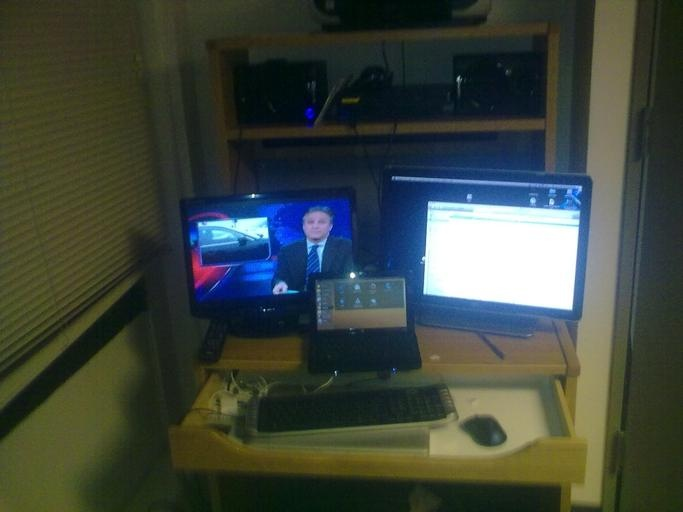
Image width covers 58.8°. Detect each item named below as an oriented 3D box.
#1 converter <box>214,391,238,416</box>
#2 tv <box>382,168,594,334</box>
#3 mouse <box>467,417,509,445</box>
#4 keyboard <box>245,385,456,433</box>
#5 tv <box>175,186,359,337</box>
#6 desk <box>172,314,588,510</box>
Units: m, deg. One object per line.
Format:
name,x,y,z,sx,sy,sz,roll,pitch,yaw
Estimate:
converter,-0.307,0.395,1.628,0.053,0.050,0.011,-3,-26,-12
tv,0.393,-0.023,1.626,0.456,0.360,0.123,2,19,12
mouse,0.367,0.445,1.547,0.086,0.038,0.094,-6,17,-21
keyboard,0.028,0.401,1.570,0.527,0.066,0.122,-1,15,-4
tv,-0.185,0.017,1.655,0.447,0.351,0.102,-2,10,-3
desk,0.202,0.414,1.552,0.884,0.491,0.590,0,18,5
